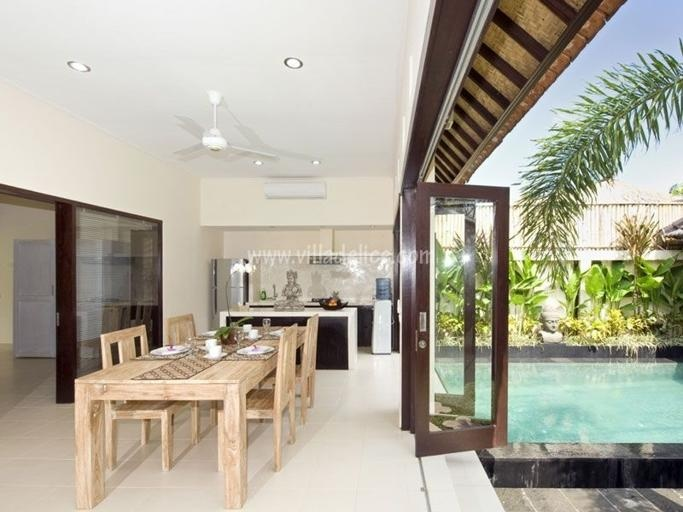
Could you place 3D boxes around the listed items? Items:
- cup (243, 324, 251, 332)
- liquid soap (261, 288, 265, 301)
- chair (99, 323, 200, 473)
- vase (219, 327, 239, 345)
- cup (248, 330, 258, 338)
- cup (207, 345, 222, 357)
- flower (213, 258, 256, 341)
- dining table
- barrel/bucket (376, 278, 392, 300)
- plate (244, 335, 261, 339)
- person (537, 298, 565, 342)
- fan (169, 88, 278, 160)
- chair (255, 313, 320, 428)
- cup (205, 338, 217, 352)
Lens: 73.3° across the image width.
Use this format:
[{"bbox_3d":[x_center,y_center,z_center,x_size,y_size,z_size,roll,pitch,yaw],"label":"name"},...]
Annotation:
[{"bbox_3d":[-1.114,0.843,5.355,0.076,0.080,0.079,1,0,0],"label":"cup"},{"bbox_3d":[-1.664,0.811,9.655,0.141,0.243,0.201,-3,-4,-8],"label":"liquid soap"},{"bbox_3d":[-2.070,1.404,4.562,0.882,1.298,0.928,0,-1,9],"label":"chair"},{"bbox_3d":[-1.250,0.875,5.104,0.202,0.183,0.203,3,3,44],"label":"vase"},{"bbox_3d":[-1.012,0.893,5.265,0.085,0.080,0.089,0,-2,0],"label":"cup"},{"bbox_3d":[-1.252,0.931,4.496,0.109,0.095,0.105,3,-8,0],"label":"cup"},{"bbox_3d":[-2.233,0.705,9.513,0.719,1.558,0.819,1,10,-2],"label":"flower"},{"bbox_3d":[-1.503,1.571,4.162,1.538,1.194,0.901,-4,-4,10],"label":"dining table"},{"bbox_3d":[0.866,0.644,9.228,0.351,0.713,0.371,-1,-2,0],"label":"barrel/bucket"},{"bbox_3d":[-0.997,0.929,5.256,0.095,0.039,0.096,6,-8,-31],"label":"plate"},{"bbox_3d":[4.078,1.277,8.943,0.533,1.002,0.538,0,-34,16],"label":"person"},{"bbox_3d":[-1.717,-1.553,6.124,1.016,0.506,1.044,-2,-2,32],"label":"fan"},{"bbox_3d":[-0.636,1.452,5.457,0.792,1.116,0.829,-1,12,7],"label":"chair"},{"bbox_3d":[-1.334,0.888,4.601,0.133,0.132,0.142,-3,2,0],"label":"cup"}]
